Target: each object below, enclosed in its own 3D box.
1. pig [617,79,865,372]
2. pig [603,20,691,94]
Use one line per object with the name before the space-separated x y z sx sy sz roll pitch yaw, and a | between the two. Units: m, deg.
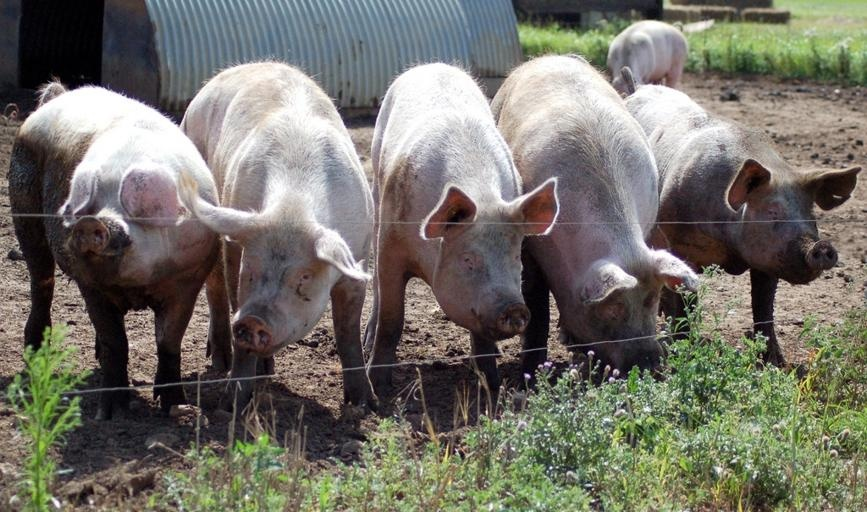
pig | 3.354 -0.602 13.431 1.310 1.839 3.633 -8 14 -15
pig | 3.169 -2.961 20.792 0.734 1.140 1.915 35 41 31
